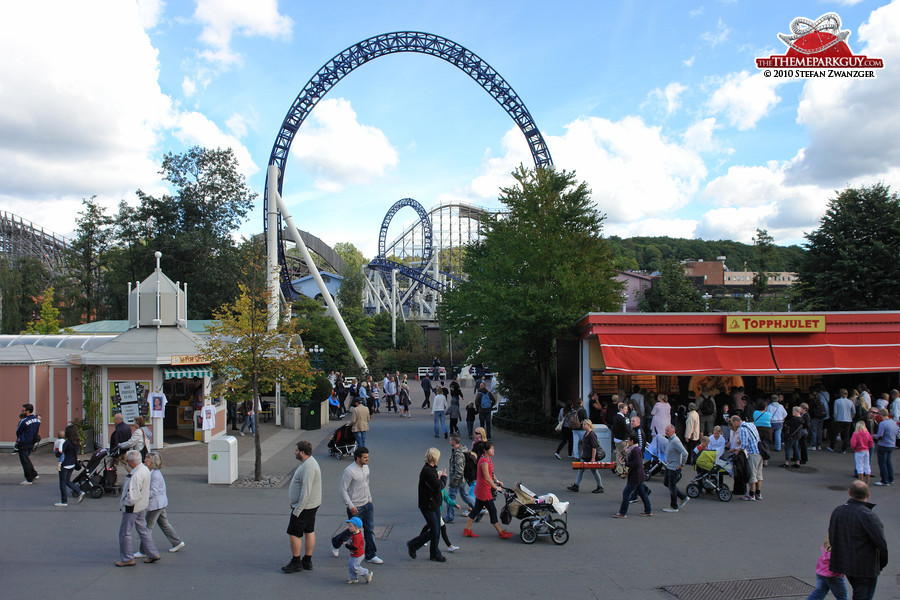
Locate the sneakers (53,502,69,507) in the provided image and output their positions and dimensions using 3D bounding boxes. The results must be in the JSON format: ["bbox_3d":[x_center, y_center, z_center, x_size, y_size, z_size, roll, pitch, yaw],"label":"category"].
[{"bbox_3d":[-12.107,6.315,29.971,0.448,0.180,0.164,-1,-17,24],"label":"sneakers"}]

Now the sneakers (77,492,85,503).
[{"bbox_3d":[-11.669,6.193,30.488,0.135,0.313,0.115,16,-47,5],"label":"sneakers"}]

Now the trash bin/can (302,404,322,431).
[{"bbox_3d":[-6.202,5.208,43.070,1.061,1.396,0.729,3,-7,-36],"label":"trash bin/can"}]

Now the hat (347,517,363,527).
[{"bbox_3d":[-2.496,5.825,25.370,0.338,0.322,0.290,-3,10,-13],"label":"hat"}]

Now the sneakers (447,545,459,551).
[{"bbox_3d":[0.102,6.909,26.921,0.277,0.114,0.141,-1,-4,-7],"label":"sneakers"}]

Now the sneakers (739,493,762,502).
[{"bbox_3d":[9.590,6.259,30.782,0.653,0.266,0.239,-1,-3,25],"label":"sneakers"}]

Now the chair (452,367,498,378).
[{"bbox_3d":[1.393,5.018,67.027,2.701,1.170,1.580,4,-5,-37],"label":"chair"}]

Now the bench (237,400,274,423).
[{"bbox_3d":[-8.833,5.191,45.043,1.789,0.837,1.174,-1,4,-29],"label":"bench"}]

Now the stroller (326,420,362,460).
[{"bbox_3d":[-4.101,5.125,36.140,1.106,1.520,1.468,1,8,-16],"label":"stroller"}]

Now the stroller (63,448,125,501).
[{"bbox_3d":[-11.472,5.470,31.016,1.784,1.458,0.997,-1,-4,-8],"label":"stroller"}]

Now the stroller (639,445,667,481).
[{"bbox_3d":[6.748,5.333,32.031,1.337,1.307,0.993,0,-2,10],"label":"stroller"}]

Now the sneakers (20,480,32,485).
[{"bbox_3d":[-14.117,6.069,32.075,0.326,0.136,0.121,0,-10,7],"label":"sneakers"}]

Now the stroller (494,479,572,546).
[{"bbox_3d":[2.438,6.088,28.000,2.080,1.534,1.283,2,2,4],"label":"stroller"}]

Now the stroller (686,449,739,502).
[{"bbox_3d":[8.464,5.489,31.195,1.680,1.546,1.184,-1,4,20],"label":"stroller"}]

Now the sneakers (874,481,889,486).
[{"bbox_3d":[14.289,6.063,31.981,0.417,0.177,0.171,1,0,35],"label":"sneakers"}]

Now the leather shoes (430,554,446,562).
[{"bbox_3d":[-0.334,7.063,26.496,0.441,0.183,0.159,-1,-4,5],"label":"leather shoes"}]

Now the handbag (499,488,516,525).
[{"bbox_3d":[1.821,5.954,27.923,0.571,0.962,0.919,1,-6,20],"label":"handbag"}]

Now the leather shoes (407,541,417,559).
[{"bbox_3d":[-1.053,6.821,26.452,0.195,0.532,0.251,-8,6,-23],"label":"leather shoes"}]
